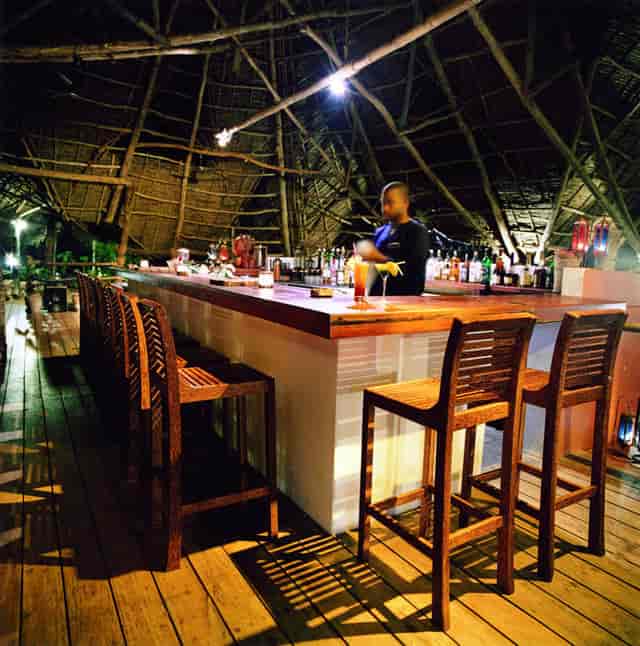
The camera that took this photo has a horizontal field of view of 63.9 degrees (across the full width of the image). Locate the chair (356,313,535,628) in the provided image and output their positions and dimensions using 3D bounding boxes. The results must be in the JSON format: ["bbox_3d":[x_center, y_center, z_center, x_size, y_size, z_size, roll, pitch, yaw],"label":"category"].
[{"bbox_3d":[0.509,0.499,2.126,0.564,1.131,0.617,-7,15,-34],"label":"chair"}]

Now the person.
[{"bbox_3d":[0.472,-0.516,3.296,0.431,0.777,1.134,4,12,10],"label":"person"}]

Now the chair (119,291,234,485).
[{"bbox_3d":[-0.742,0.380,2.683,0.516,0.961,0.965,-3,11,-25],"label":"chair"}]

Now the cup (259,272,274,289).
[{"bbox_3d":[-0.297,-0.252,2.996,0.100,0.105,0.098,3,5,0],"label":"cup"}]
